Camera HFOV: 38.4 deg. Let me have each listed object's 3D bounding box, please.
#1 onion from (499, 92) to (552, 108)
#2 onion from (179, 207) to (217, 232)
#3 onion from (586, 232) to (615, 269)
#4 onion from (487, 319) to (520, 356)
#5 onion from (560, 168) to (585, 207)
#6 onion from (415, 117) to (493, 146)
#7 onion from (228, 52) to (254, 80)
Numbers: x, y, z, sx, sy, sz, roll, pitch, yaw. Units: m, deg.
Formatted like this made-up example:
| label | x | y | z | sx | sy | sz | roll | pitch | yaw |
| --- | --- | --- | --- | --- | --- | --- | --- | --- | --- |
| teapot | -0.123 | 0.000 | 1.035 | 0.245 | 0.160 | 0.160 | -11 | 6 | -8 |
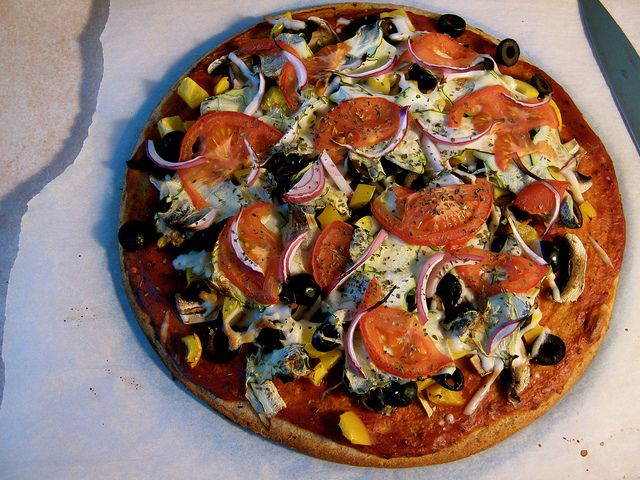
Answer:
| label | x | y | z | sx | sy | sz | roll | pitch | yaw |
| --- | --- | --- | --- | --- | --- | --- | --- | --- | --- |
| onion | 2.034 | -1.388 | 9.339 | 0.378 | 0.209 | 0.139 | -1 | 92 | -6 |
| onion | -1.192 | -0.177 | 9.117 | 0.108 | 0.261 | 0.236 | 57 | 32 | -12 |
| onion | 2.881 | 0.121 | 9.548 | 0.060 | 0.042 | 0.419 | -34 | 79 | 17 |
| onion | 1.800 | 0.912 | 8.956 | 0.138 | 0.488 | 0.077 | -8 | 52 | -50 |
| onion | 2.583 | -0.546 | 9.482 | 0.172 | 0.102 | 0.365 | -42 | 114 | -28 |
| onion | 1.264 | -1.048 | 9.173 | 0.429 | 0.125 | 0.371 | 2 | 48 | 5 |
| onion | -0.801 | -1.795 | 9.498 | 0.078 | 0.064 | 0.301 | -30 | 87 | -35 |
